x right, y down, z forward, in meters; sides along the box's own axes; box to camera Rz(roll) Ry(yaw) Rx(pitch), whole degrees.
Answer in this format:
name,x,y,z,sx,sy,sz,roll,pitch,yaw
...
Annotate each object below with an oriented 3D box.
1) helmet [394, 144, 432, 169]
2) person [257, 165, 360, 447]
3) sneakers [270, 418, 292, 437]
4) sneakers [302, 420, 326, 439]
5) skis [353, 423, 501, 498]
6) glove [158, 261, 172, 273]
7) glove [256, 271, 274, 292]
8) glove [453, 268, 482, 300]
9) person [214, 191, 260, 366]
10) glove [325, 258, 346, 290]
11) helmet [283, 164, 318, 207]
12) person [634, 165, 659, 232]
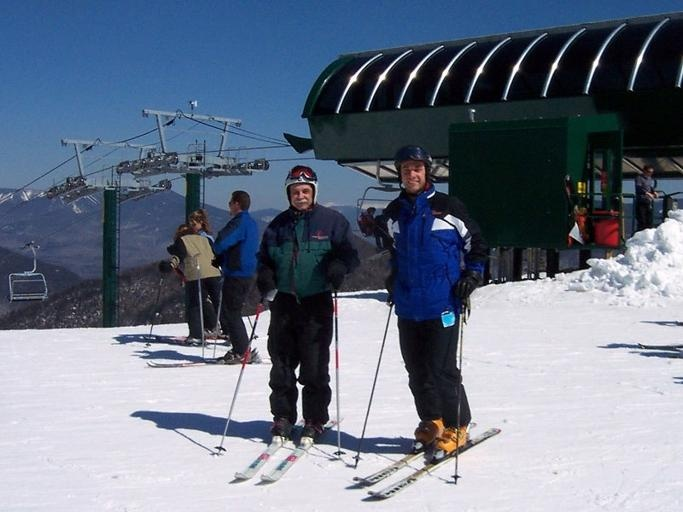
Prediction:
name,x,y,z,sx,sy,sz,roll,pitch,yaw
helmet,0.725,-1.000,9.234,0.365,0.224,0.527,0,7,5
person,-0.463,0.475,9.451,1.119,2.788,0.921,-3,-9,25
sneakers,-0.631,1.781,9.416,0.171,0.170,0.194,-3,-8,16
sneakers,-0.318,1.820,9.431,0.137,0.221,0.226,-2,-20,24
skis,0.840,2.036,8.889,1.601,0.119,0.174,-19,13,-33
glove,-2.605,0.171,13.445,0.190,0.190,0.203,-14,6,-11
glove,-0.788,0.261,9.412,0.188,0.184,0.192,-3,6,-5
glove,1.258,0.286,9.007,0.212,0.320,0.147,25,-17,37
person,-1.404,0.338,12.283,0.615,2.393,0.451,-2,7,-8
glove,-0.060,0.191,9.224,0.099,0.282,0.196,12,-13,-41
helmet,-0.445,-0.661,9.472,0.367,0.526,0.517,4,-26,-3
person,7.383,-1.370,22.074,0.504,1.625,1.472,1,7,19
